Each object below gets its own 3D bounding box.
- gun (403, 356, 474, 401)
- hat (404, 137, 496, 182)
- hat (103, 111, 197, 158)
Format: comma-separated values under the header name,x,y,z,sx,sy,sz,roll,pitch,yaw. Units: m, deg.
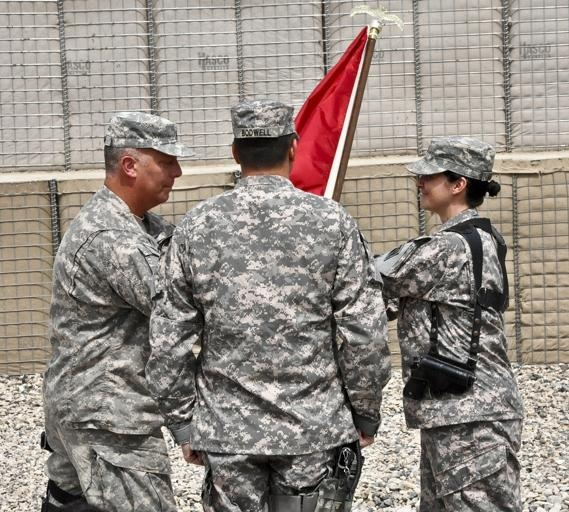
name,x,y,z,sx,sy,sz,roll,pitch,yaw
gun,1.009,0.806,8.111,0.481,0.345,0.114,16,22,30
hat,1.139,-0.658,8.402,0.442,0.203,0.328,7,7,17
hat,-0.931,-0.778,8.178,0.459,0.190,0.303,3,4,-1
